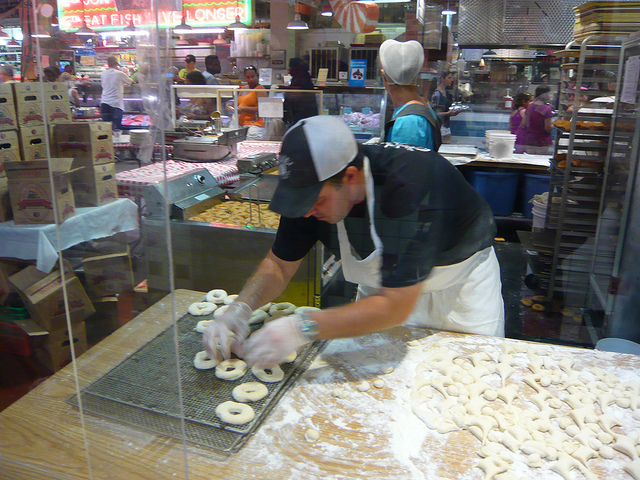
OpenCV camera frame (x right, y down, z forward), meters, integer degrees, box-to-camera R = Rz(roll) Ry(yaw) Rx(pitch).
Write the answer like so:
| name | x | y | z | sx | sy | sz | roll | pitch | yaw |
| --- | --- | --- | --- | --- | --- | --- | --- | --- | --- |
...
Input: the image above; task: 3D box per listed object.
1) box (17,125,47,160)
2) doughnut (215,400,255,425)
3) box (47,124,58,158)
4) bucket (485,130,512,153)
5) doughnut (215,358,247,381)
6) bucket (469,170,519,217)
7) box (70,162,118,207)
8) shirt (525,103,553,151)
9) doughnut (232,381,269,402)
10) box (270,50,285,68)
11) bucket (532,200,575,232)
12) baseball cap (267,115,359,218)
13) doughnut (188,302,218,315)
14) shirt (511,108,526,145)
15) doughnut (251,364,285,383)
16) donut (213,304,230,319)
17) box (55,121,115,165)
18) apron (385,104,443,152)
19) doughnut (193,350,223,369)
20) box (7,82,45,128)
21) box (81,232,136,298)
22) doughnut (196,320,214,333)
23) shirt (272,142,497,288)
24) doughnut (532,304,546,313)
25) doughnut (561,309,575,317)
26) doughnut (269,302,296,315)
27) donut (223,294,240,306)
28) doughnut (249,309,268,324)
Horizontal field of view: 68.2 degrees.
| name | x | y | z | sx | sy | sz | roll | pitch | yaw |
| --- | --- | --- | --- | --- | --- | --- | --- | --- | --- |
| box | -0.732 | -0.254 | 1.214 | 0.070 | 0.099 | 0.065 | 14 | 22 | 10 |
| doughnut | -0.227 | 0.473 | 1.291 | 0.107 | 0.023 | 0.073 | 4 | 15 | 13 |
| box | -0.649 | -0.243 | 1.161 | 0.020 | 0.080 | 0.027 | -9 | 20 | -25 |
| bucket | 1.514 | -0.849 | 4.035 | 0.255 | 0.142 | 0.220 | -2 | 17 | 3 |
| doughnut | -0.267 | 0.396 | 1.445 | 0.093 | 0.033 | 0.078 | -12 | 19 | -40 |
| bucket | 1.477 | -0.408 | 4.307 | 0.615 | 0.356 | 0.557 | -3 | -4 | 27 |
| box | -0.622 | -0.151 | 1.282 | 0.139 | 0.081 | 0.120 | -6 | 14 | -10 |
| shirt | 1.773 | -0.959 | 4.024 | 0.355 | 0.348 | 0.221 | -1 | 6 | -4 |
| doughnut | -0.198 | 0.440 | 1.365 | 0.101 | 0.019 | 0.078 | -2 | 15 | -7 |
| box | -0.127 | -0.551 | 1.439 | 0.044 | 0.048 | 0.031 | -1 | 17 | -3 |
| bucket | 1.798 | -0.203 | 3.752 | 0.260 | 0.217 | 0.251 | -6 | 21 | 2 |
| baseball cap | -0.014 | -0.202 | 1.340 | 0.200 | 0.295 | 0.138 | 15 | 23 | 40 |
| doughnut | -0.416 | 0.245 | 1.691 | 0.095 | 0.031 | 0.047 | -1 | 15 | -5 |
| shirt | 1.693 | -0.947 | 4.040 | 0.135 | 0.271 | 0.307 | 7 | 17 | 21 |
| doughnut | -0.151 | 0.403 | 1.429 | 0.090 | 0.034 | 0.063 | -4 | 16 | -17 |
| donut | -0.343 | 0.253 | 1.654 | 0.047 | 0.012 | 0.045 | -26 | 15 | 18 |
| box | -0.617 | -0.253 | 1.248 | 0.141 | 0.079 | 0.119 | -2 | 14 | -9 |
| apron | 0.340 | -0.368 | 1.583 | 0.187 | 0.179 | 0.198 | 8 | 30 | 20 |
| doughnut | -0.347 | 0.376 | 1.481 | 0.089 | 0.031 | 0.067 | -3 | 15 | -13 |
| box | -0.698 | -0.323 | 1.138 | 0.057 | 0.105 | 0.138 | -10 | 19 | -30 |
| box | -0.575 | 0.099 | 1.400 | 0.160 | 0.122 | 0.105 | -9 | -9 | 16 |
| doughnut | -0.390 | 0.296 | 1.617 | 0.041 | 0.009 | 0.042 | -20 | 18 | -39 |
| shirt | 0.226 | -0.096 | 1.546 | 0.808 | 0.305 | 0.455 | -6 | 13 | -25 |
| doughnut | 1.548 | 0.487 | 3.361 | 0.067 | 0.034 | 0.084 | -7 | 16 | -24 |
| doughnut | 1.711 | 0.508 | 3.273 | 0.062 | 0.042 | 0.092 | -1 | 15 | -4 |
| doughnut | -0.130 | 0.245 | 1.675 | 0.093 | 0.016 | 0.081 | -1 | 14 | -4 |
| donut | -0.318 | 0.218 | 1.736 | 0.065 | 0.017 | 0.062 | 3 | 9 | 35 |
| doughnut | -0.207 | 0.267 | 1.626 | 0.055 | 0.014 | 0.045 | -1 | 15 | 46 |
